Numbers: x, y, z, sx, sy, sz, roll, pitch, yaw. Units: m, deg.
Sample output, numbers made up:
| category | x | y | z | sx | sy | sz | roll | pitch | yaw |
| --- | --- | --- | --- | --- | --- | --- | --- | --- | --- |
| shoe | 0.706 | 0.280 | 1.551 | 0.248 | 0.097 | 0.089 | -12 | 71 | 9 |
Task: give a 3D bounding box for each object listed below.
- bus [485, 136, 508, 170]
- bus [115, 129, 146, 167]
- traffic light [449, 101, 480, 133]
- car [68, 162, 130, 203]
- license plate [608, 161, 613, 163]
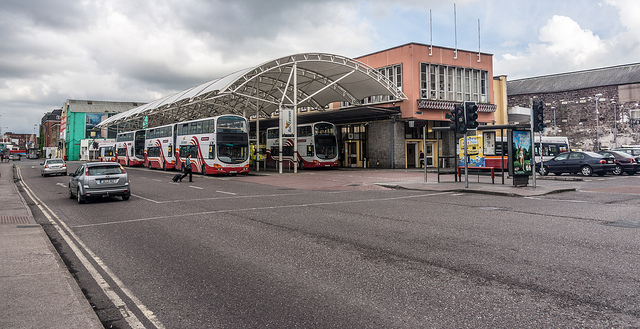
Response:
| category | x | y | z | sx | sy | sz | roll | pitch | yaw |
| --- | --- | --- | --- | --- | --- | --- | --- | --- | --- |
| bus | 14.778 | -0.809 | 32.725 | 1.593 | 3.183 | 9.921 | 1 | 7 | 25 |
| bus | -28.518 | -2.362 | 59.849 | 3.039 | 4.953 | 10.691 | -3 | 3 | -40 |
| traffic light | 8.534 | -2.731 | 23.163 | 1.460 | 1.762 | 0.666 | -1 | 6 | 11 |
| car | -11.394 | 0.983 | 20.530 | 2.485 | 2.038 | 1.252 | -4 | 6 | -19 |
| license plate | 22.984 | -0.151 | 30.964 | 0.463 | 0.123 | 0.091 | -5 | 7 | -26 |
